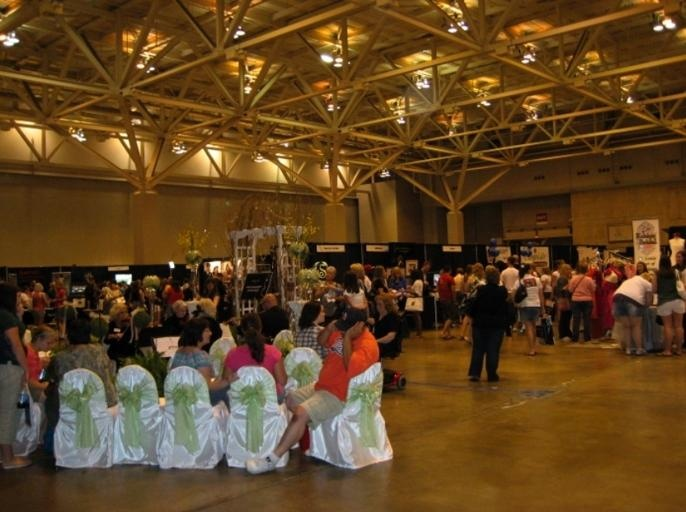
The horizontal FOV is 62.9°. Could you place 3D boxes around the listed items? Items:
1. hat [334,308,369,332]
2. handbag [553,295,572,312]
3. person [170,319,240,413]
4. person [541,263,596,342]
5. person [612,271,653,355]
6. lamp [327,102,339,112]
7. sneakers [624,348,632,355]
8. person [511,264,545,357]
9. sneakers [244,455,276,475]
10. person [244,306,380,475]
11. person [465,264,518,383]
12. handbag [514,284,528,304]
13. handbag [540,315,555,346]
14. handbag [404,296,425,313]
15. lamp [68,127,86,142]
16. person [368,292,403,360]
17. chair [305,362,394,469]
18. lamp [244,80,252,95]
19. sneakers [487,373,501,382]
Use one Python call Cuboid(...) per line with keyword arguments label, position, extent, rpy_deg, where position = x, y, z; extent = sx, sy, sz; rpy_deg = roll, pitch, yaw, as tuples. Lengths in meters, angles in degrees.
Cuboid(label="hat", position=(0.077, 0.553, 4.722), extent=(0.264, 0.147, 0.196), rpy_deg=(-2, 6, -12))
Cuboid(label="handbag", position=(4.641, 1.006, 11.875), extent=(0.247, 0.312, 0.308), rpy_deg=(4, -6, -32))
Cuboid(label="person", position=(-1.240, 0.905, 5.045), extent=(0.466, 0.782, 0.537), rpy_deg=(-11, 29, -43))
Cuboid(label="person", position=(4.762, 0.953, 11.706), extent=(0.766, 1.578, 2.768), rpy_deg=(-2, -2, 21))
Cuboid(label="person", position=(4.790, 0.979, 9.281), extent=(0.579, 1.300, 0.890), rpy_deg=(-2, -2, 28))
Cuboid(label="lamp", position=(-0.275, -4.137, 15.737), extent=(0.426, 0.155, 0.458), rpy_deg=(1, 3, 20))
Cuboid(label="sneakers", position=(4.743, 1.596, 9.361), extent=(0.068, 0.085, 0.192), rpy_deg=(-4, -15, 21))
Cuboid(label="person", position=(3.271, 0.950, 9.951), extent=(0.507, 1.557, 0.478), rpy_deg=(-4, -8, 5))
Cuboid(label="sneakers", position=(-0.651, 1.655, 4.469), extent=(0.222, 0.102, 0.119), rpy_deg=(4, 19, -23))
Cuboid(label="person", position=(-0.232, 1.105, 4.645), extent=(1.050, 1.304, 0.617), rpy_deg=(4, 11, -42))
Cuboid(label="person", position=(2.001, 0.928, 7.719), extent=(0.572, 1.556, 0.472), rpy_deg=(-1, -2, 13))
Cuboid(label="handbag", position=(3.133, 0.682, 9.872), extent=(0.148, 0.283, 0.233), rpy_deg=(36, -45, -14))
Cuboid(label="handbag", position=(3.783, 1.394, 10.438), extent=(0.263, 0.591, 0.601), rpy_deg=(-1, -1, 3))
Cuboid(label="handbag", position=(1.581, 1.085, 12.549), extent=(0.442, 0.396, 0.184), rpy_deg=(-2, -15, 16))
Cuboid(label="lamp", position=(-7.899, -3.612, 16.896), extent=(0.484, 0.184, 0.644), rpy_deg=(5, 3, -17))
Cuboid(label="person", position=(0.534, 0.967, 7.267), extent=(0.465, 0.893, 0.448), rpy_deg=(-7, 4, -5))
Cuboid(label="chair", position=(0.084, 1.305, 4.836), extent=(0.678, 0.817, 0.727), rpy_deg=(3, 0, 4))
Cuboid(label="lamp", position=(-2.573, -4.650, 15.502), extent=(0.219, 0.465, 0.671), rpy_deg=(-1, -2, -7))
Cuboid(label="sneakers", position=(2.058, 1.650, 7.611), extent=(0.087, 0.103, 0.133), rpy_deg=(-7, -20, 42))
